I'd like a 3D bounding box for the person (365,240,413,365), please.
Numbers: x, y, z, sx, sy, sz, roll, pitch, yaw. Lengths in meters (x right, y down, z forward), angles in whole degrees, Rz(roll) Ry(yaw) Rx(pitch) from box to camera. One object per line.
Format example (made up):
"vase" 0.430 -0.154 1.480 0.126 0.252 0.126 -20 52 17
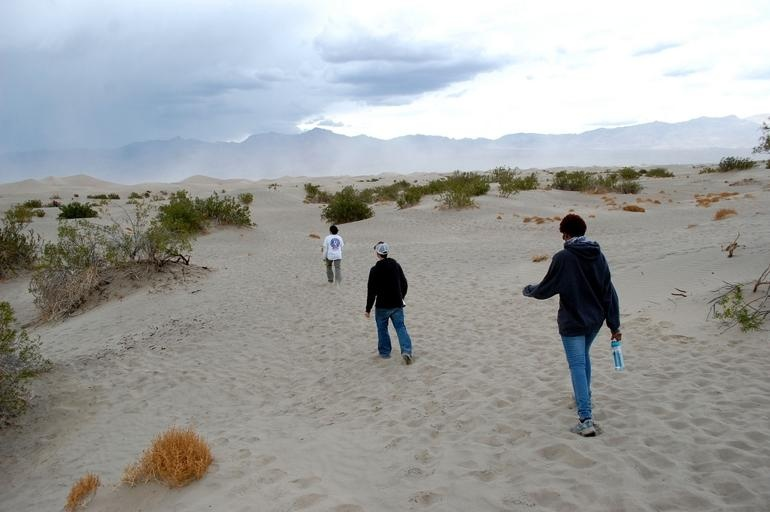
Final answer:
"person" 0.045 0.888 10.673 0.858 2.431 1.153 -6 12 1

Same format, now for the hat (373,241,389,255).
"hat" -0.056 -0.145 10.334 0.289 0.195 0.357 0 20 -1

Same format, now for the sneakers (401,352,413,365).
"sneakers" 0.429 2.027 10.488 0.131 0.287 0.135 1 39 29

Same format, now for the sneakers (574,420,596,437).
"sneakers" 3.045 2.622 8.019 0.182 0.156 0.381 -6 -11 2
